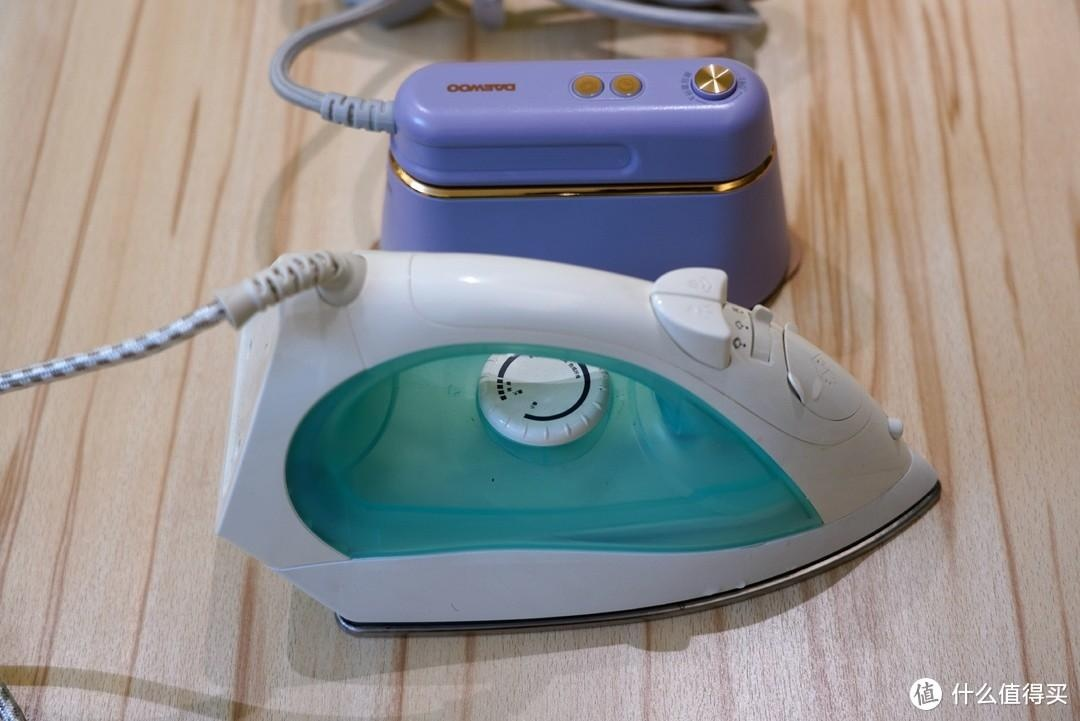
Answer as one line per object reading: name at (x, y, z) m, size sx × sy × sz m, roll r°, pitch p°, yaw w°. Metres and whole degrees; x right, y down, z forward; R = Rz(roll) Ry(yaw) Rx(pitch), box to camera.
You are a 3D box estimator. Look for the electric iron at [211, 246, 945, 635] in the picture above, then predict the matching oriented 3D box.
electric iron at (0.006, 0.015, 1.025) m, size 0.732 × 0.387 × 0.305 m, roll -1°, pitch 49°, yaw 0°
